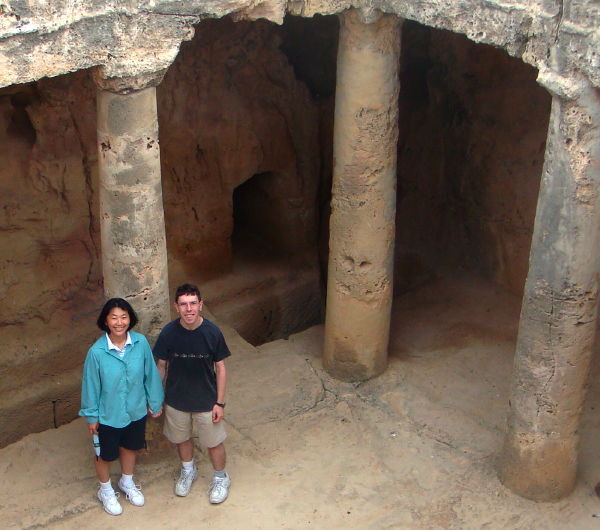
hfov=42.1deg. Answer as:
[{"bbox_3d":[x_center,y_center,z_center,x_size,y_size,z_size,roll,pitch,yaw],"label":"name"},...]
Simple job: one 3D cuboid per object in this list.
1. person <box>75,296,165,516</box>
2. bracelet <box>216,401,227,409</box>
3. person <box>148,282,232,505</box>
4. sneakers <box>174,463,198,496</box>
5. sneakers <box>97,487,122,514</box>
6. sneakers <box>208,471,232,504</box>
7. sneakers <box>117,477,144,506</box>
[{"bbox_3d":[-1.236,0.974,5.430,0.568,1.577,0.285,-9,22,-19],"label":"person"},{"bbox_3d":[-0.560,0.982,5.485,0.080,0.047,0.032,27,-9,-3],"label":"bracelet"},{"bbox_3d":[-0.777,0.927,5.488,0.548,1.628,0.469,1,19,2],"label":"person"},{"bbox_3d":[-0.856,1.595,5.767,0.102,0.142,0.299,7,40,7],"label":"sneakers"},{"bbox_3d":[-1.361,1.680,5.585,0.103,0.112,0.239,-19,56,-39],"label":"sneakers"},{"bbox_3d":[-0.596,1.636,5.707,0.112,0.118,0.250,3,45,6],"label":"sneakers"},{"bbox_3d":[-1.228,1.628,5.683,0.132,0.099,0.246,-30,63,-34],"label":"sneakers"}]
